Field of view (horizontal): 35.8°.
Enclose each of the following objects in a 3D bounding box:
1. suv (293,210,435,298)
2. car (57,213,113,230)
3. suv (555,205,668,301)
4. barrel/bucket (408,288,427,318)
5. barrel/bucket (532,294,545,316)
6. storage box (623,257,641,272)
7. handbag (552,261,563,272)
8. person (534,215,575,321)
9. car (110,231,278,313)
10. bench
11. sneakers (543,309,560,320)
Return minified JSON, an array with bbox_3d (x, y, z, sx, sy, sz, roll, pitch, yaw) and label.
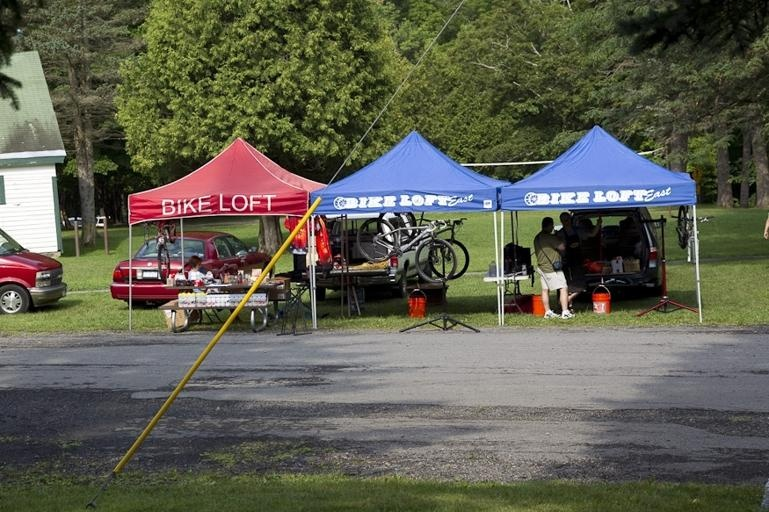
[{"bbox_3d":[-0.501,-0.124,32.299,1.993,1.321,3.652,0,7,15],"label":"suv"},{"bbox_3d":[-15.824,-1.835,63.000,2.378,0.964,1.309,3,2,8],"label":"car"},{"bbox_3d":[6.272,-0.523,33.207,2.994,2.520,5.115,-3,-17,9],"label":"suv"},{"bbox_3d":[0.862,1.216,30.445,0.752,0.953,0.619,0,-2,2],"label":"barrel/bucket"},{"bbox_3d":[3.900,1.259,30.330,0.429,0.425,0.422,-1,-3,0],"label":"barrel/bucket"},{"bbox_3d":[6.448,0.227,30.975,0.362,0.245,0.362,1,3,17],"label":"storage box"},{"bbox_3d":[4.309,0.242,29.613,0.226,0.176,0.260,3,5,30],"label":"handbag"},{"bbox_3d":[4.207,0.285,29.665,0.876,1.937,0.607,-1,1,5],"label":"person"},{"bbox_3d":[-5.349,0.373,32.107,1.820,1.187,4.079,1,10,27],"label":"car"},{"bbox_3d":[-4.009,0.940,29.893,3.006,1.681,2.479,-1,1,-6],"label":"bench"},{"bbox_3d":[4.179,1.471,29.671,0.472,0.192,0.160,-1,8,-7],"label":"sneakers"}]
